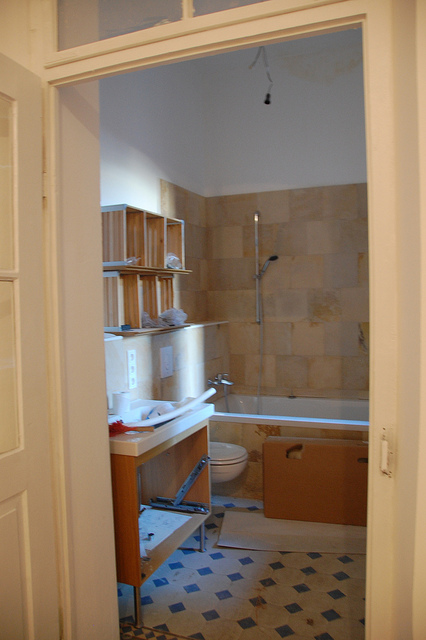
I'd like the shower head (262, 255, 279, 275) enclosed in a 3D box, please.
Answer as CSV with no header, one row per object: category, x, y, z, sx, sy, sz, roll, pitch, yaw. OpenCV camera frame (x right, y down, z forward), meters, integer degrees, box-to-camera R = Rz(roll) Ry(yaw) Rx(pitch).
shower head,0.422,-0.416,4.312,0.132,0.144,0.074,0,4,20

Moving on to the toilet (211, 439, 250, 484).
toilet,0.089,0.802,3.042,0.209,0.246,0.385,-1,4,3
